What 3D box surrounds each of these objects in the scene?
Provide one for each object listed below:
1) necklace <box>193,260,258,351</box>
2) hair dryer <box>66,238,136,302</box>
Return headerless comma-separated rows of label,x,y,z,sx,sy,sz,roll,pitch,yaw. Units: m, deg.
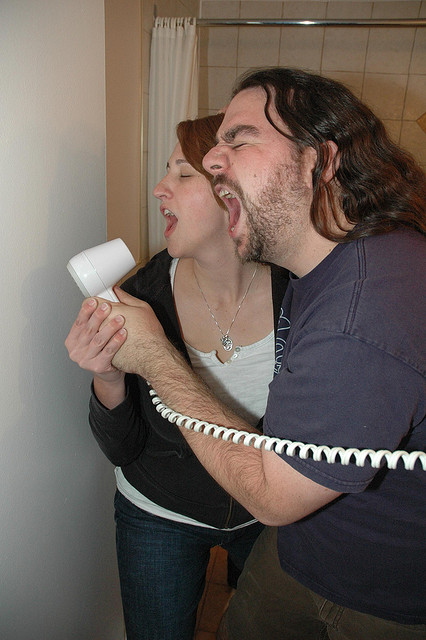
necklace,0.028,-0.032,1.299,0.229,0.022,0.285,0,69,-1
hair dryer,-0.238,-0.103,1.079,0.095,0.124,0.073,-37,57,-14
